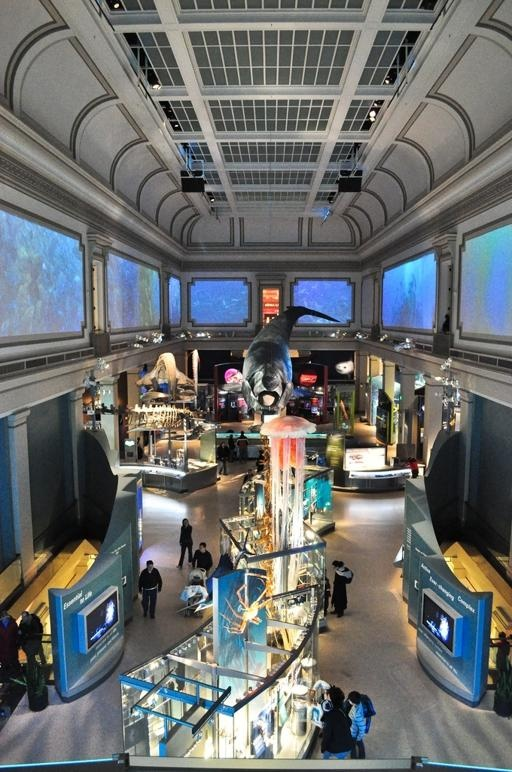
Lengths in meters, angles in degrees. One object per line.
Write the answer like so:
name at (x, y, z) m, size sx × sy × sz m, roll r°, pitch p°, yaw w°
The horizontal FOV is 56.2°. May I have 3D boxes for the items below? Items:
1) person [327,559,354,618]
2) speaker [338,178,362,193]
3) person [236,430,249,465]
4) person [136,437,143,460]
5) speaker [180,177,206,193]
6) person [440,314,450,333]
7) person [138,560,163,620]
person at (1.229, 2.838, 6.888) m, size 0.266 × 0.830 × 0.772 m, roll 0°, pitch 4°, yaw 11°
speaker at (2.288, -5.017, 11.767) m, size 0.475 × 0.386 × 0.283 m, roll 0°, pitch 4°, yaw 5°
person at (-0.433, 1.909, 14.841) m, size 0.312 × 0.957 × 0.632 m, roll -1°, pitch 4°, yaw -3°
person at (-3.403, 1.841, 13.999) m, size 0.166 × 0.552 × 1.112 m, roll -1°, pitch 4°, yaw -13°
speaker at (-1.547, -4.975, 11.714) m, size 0.415 × 0.318 × 0.469 m, roll 1°, pitch 6°, yaw -2°
person at (3.871, -1.294, 9.822) m, size 0.130 × 0.435 × 0.839 m, roll 1°, pitch 5°, yaw 19°
person at (-1.457, 2.766, 6.528) m, size 0.276 × 0.815 × 0.273 m, roll -1°, pitch 4°, yaw -8°
